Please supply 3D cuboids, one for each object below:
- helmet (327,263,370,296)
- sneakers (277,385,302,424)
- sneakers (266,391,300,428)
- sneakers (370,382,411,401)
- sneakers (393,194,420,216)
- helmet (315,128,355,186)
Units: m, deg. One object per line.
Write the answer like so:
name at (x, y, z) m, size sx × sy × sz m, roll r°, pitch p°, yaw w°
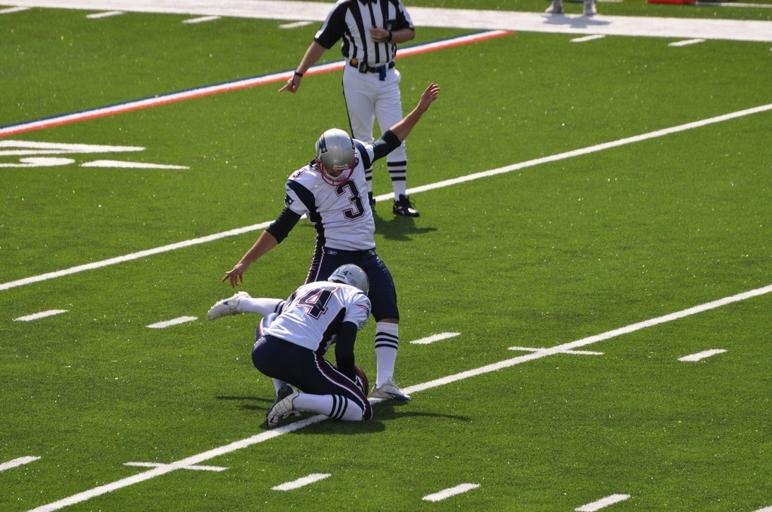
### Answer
helmet at (-0.274, 0.183, 10.412) m, size 0.237 × 0.240 × 0.284 m, roll 21°, pitch 13°, yaw 25°
sneakers at (-0.744, 1.141, 10.105) m, size 0.157 × 0.314 × 0.115 m, roll 25°, pitch -5°, yaw 7°
sneakers at (-0.789, 1.171, 10.135) m, size 0.251 × 0.293 × 0.270 m, roll 1°, pitch 12°, yaw -4°
sneakers at (0.015, 1.085, 10.393) m, size 0.401 × 0.145 × 0.120 m, roll 1°, pitch 13°, yaw 2°
sneakers at (0.184, -0.478, 13.437) m, size 0.353 × 0.170 × 0.139 m, roll 9°, pitch 19°, yaw 38°
helmet at (-0.376, -0.825, 10.802) m, size 0.422 × 0.377 × 0.496 m, roll 0°, pitch 13°, yaw -5°
